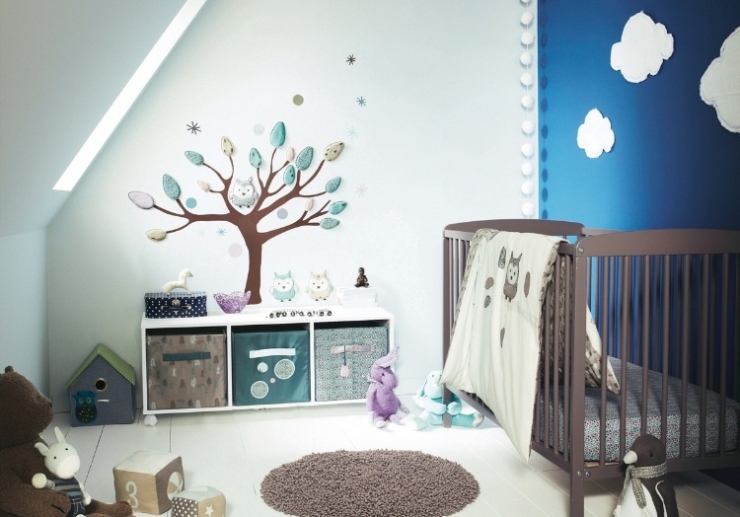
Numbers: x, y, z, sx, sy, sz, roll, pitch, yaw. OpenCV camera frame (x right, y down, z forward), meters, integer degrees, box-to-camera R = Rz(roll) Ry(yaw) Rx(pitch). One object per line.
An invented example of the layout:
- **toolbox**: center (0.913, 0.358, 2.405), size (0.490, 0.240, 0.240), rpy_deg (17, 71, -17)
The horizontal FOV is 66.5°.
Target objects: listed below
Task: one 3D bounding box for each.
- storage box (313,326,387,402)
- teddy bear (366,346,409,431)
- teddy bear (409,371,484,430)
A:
- **storage box**: center (-0.155, 0.654, 3.835), size (0.443, 0.500, 0.454), rpy_deg (0, -1, -15)
- **teddy bear**: center (0.111, 0.788, 3.488), size (0.255, 0.460, 0.199), rpy_deg (-1, 10, -4)
- **teddy bear**: center (0.429, 0.885, 3.490), size (0.430, 0.366, 0.299), rpy_deg (4, -18, -26)
